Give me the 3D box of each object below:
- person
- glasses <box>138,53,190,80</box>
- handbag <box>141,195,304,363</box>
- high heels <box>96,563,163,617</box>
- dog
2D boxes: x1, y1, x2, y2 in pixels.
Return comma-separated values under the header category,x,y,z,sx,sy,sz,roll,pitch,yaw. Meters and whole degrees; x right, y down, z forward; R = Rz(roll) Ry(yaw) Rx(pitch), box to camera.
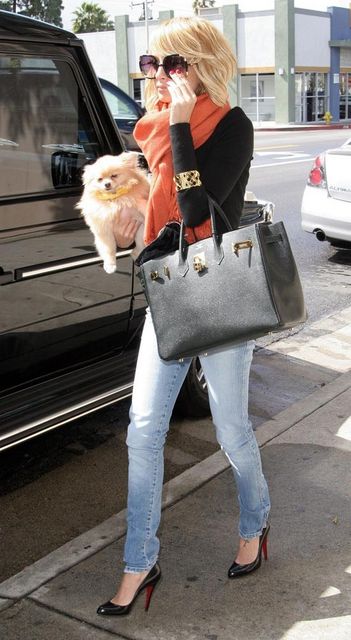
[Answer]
category,x,y,z,sx,sy,sz,roll,pitch,yaw
person,0.017,0.000,1.435,0.623,1.759,0.511,-4,5,-29
glasses,-0.026,-0.678,1.233,0.120,0.058,0.124,16,22,32
handbag,0.096,-0.147,1.189,0.390,0.431,0.168,-15,-3,38
high heels,-0.144,0.858,1.520,0.227,0.199,0.095,3,-1,-11
dog,-0.222,-0.408,1.648,0.228,0.406,0.396,-9,29,-12
